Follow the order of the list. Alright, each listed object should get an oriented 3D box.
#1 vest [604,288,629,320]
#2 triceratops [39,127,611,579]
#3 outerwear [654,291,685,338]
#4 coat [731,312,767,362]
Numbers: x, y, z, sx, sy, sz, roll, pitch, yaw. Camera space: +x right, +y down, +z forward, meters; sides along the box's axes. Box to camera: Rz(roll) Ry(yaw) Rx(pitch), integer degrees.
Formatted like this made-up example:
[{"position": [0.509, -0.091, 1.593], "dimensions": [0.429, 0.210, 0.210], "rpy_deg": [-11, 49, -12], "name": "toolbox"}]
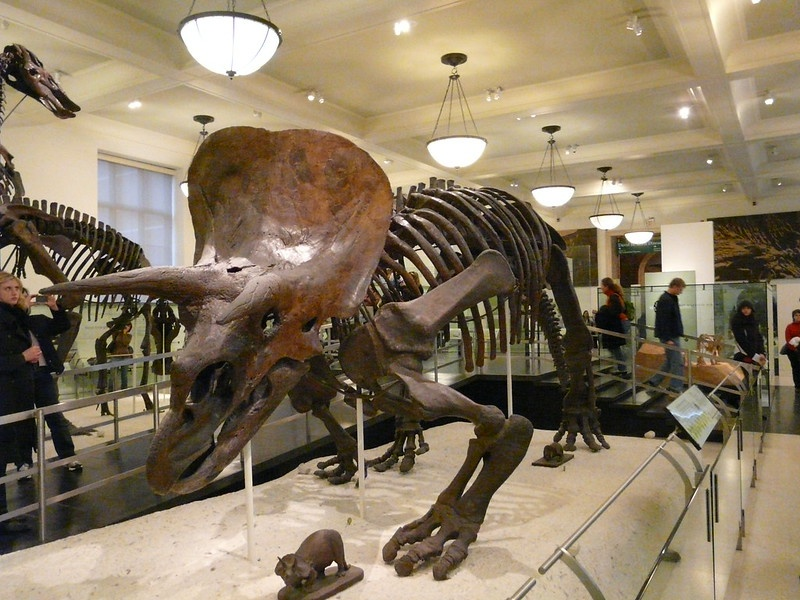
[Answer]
[{"position": [2.900, 0.050, 8.276], "dimensions": [0.417, 0.449, 0.564], "rpy_deg": [-1, 0, 28], "name": "vest"}, {"position": [-0.078, 0.158, 4.192], "dimensions": [1.934, 2.434, 4.269], "rpy_deg": [-4, 6, 38], "name": "triceratops"}, {"position": [3.427, 0.182, 7.697], "dimensions": [0.446, 0.610, 0.751], "rpy_deg": [0, 8, 26], "name": "outerwear"}, {"position": [4.301, 0.455, 7.337], "dimensions": [0.447, 0.561, 0.233], "rpy_deg": [-2, 3, 5], "name": "coat"}]
